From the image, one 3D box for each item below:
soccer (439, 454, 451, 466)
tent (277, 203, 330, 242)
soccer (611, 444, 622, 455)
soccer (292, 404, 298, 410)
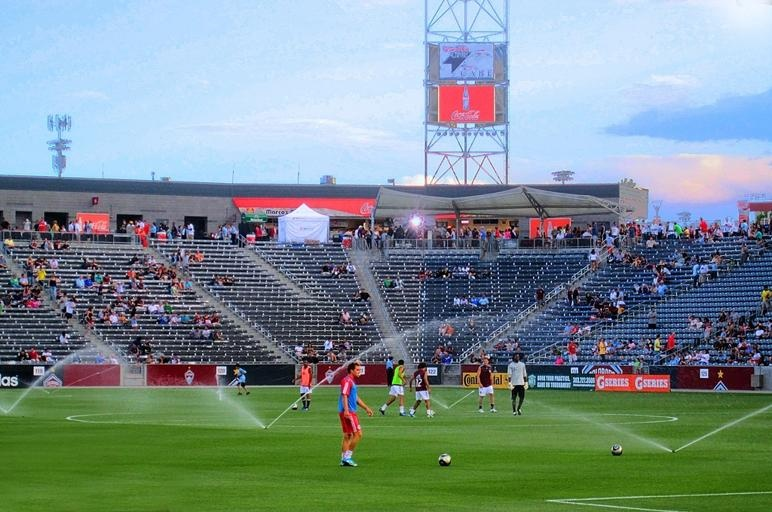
[{"bbox_3d":[2.702,9.185,77.435,0.417,0.482,0.524,19,31,35],"label":"soccer"},{"bbox_3d":[-6.104,-2.359,126.290,4.683,2.822,2.659,-2,-1,18],"label":"tent"},{"bbox_3d":[10.702,8.910,78.937,0.396,0.493,0.446,18,-36,1],"label":"soccer"},{"bbox_3d":[-4.969,8.283,93.932,0.336,0.209,0.317,1,-10,-4],"label":"soccer"}]
